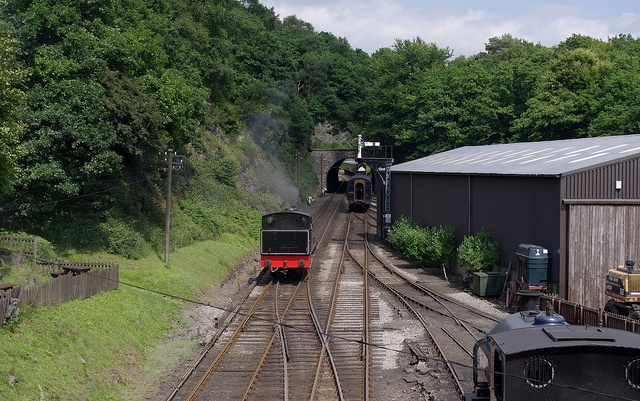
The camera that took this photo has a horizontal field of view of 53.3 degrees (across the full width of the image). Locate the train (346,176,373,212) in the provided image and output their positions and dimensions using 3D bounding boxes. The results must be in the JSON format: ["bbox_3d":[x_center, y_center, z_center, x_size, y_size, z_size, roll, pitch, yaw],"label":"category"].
[{"bbox_3d":[4.846,-0.700,79.831,3.866,5.286,15.355,-1,1,2],"label":"train"}]
